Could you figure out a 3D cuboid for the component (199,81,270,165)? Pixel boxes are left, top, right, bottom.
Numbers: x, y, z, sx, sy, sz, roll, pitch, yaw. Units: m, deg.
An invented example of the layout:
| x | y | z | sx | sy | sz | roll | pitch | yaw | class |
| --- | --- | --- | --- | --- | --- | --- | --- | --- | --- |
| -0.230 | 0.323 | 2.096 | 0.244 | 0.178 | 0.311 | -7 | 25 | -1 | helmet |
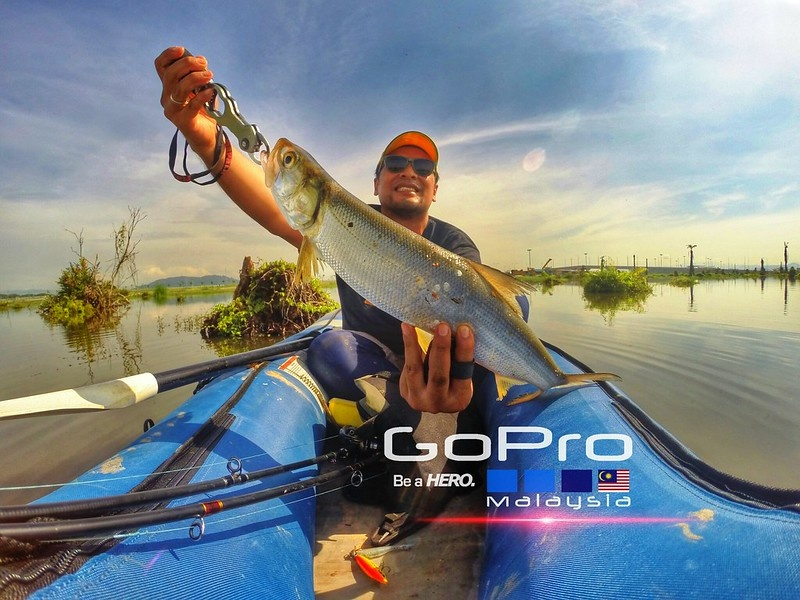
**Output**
| x | y | z | sx | sy | sz | roll | pitch | yaw | class |
| --- | --- | --- | --- | --- | --- | --- | --- | --- | --- |
| -1.204 | -1.248 | 3.079 | 0.609 | 0.656 | 0.206 | 1 | 4 | 38 | component |
